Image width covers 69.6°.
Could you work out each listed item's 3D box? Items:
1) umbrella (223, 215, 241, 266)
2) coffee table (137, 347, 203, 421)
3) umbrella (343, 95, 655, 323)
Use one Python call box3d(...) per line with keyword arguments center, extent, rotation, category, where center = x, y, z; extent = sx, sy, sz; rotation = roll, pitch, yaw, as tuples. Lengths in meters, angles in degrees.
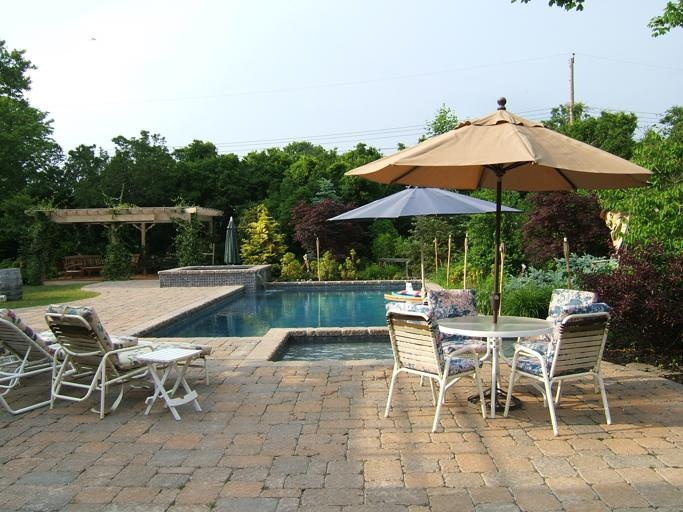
box3d(center=(-4.301, -0.599, 19.028), extent=(0.517, 1.821, 0.539), rotation=(-3, 7, -13), category="umbrella")
box3d(center=(-1.836, 1.331, 5.295), extent=(0.784, 0.708, 0.708), rotation=(-3, -1, 22), category="coffee table")
box3d(center=(1.701, -0.477, 5.142), extent=(2.802, 2.373, 2.288), rotation=(0, 6, 9), category="umbrella")
